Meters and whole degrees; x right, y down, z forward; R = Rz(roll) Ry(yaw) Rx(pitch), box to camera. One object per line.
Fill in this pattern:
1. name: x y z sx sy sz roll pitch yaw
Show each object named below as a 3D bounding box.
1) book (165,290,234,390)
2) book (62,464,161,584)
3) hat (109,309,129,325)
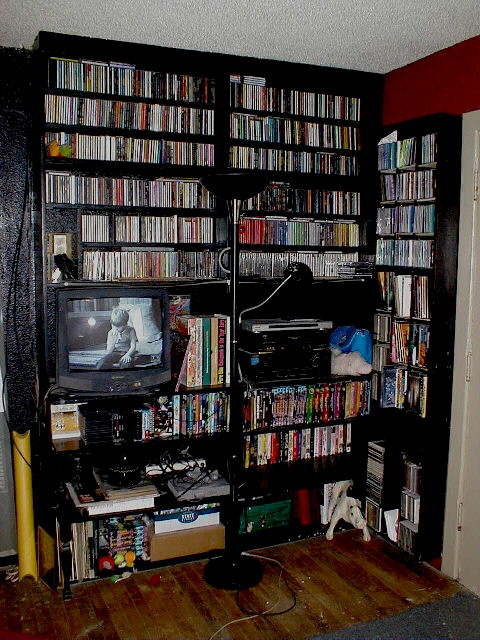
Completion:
1. book: -0.223 0.034 2.789 0.307 0.480 0.444 -2 10 -13
2. book: -0.615 0.928 2.617 0.495 0.547 0.382 -3 5 -31
3. hat: -0.508 -0.003 2.370 0.049 0.077 0.071 -9 -22 39
